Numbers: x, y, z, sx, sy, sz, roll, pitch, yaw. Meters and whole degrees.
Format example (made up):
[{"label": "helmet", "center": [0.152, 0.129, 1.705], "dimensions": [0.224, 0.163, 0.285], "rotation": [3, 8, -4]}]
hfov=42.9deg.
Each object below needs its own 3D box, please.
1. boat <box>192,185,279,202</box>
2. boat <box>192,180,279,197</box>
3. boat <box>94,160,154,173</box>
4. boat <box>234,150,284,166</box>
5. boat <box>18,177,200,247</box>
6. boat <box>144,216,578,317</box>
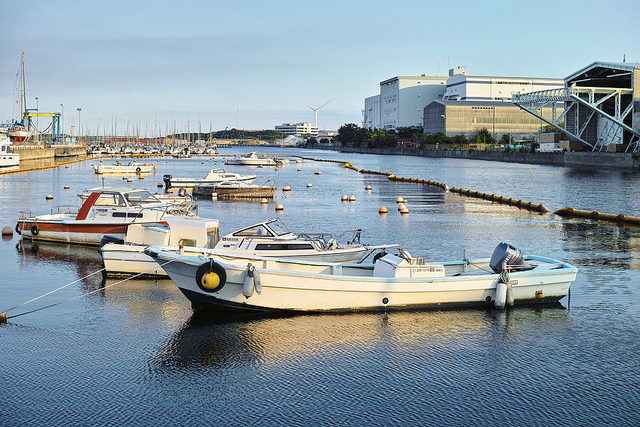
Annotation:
[{"label": "boat", "center": [-6.173, -1.539, 56.944], "dimensions": [5.954, 0.861, 2.418], "rotation": [1, 8, 11]}, {"label": "boat", "center": [-5.935, -1.750, 57.952], "dimensions": [6.985, 1.349, 1.882], "rotation": [0, 6, 8]}, {"label": "boat", "center": [-20.133, -4.841, 85.349], "dimensions": [4.218, 1.004, 6.637], "rotation": [1, 8, 10]}, {"label": "boat", "center": [-8.655, -7.757, 112.936], "dimensions": [7.839, 2.081, 2.177], "rotation": [3, 0, -22]}, {"label": "boat", "center": [-8.966, 0.035, 35.707], "dimensions": [7.775, 2.321, 3.388], "rotation": [0, 5, 9]}, {"label": "boat", "center": [1.298, 1.949, 27.488], "dimensions": [14.041, 2.090, 3.308], "rotation": [-1, 9, -7]}]
